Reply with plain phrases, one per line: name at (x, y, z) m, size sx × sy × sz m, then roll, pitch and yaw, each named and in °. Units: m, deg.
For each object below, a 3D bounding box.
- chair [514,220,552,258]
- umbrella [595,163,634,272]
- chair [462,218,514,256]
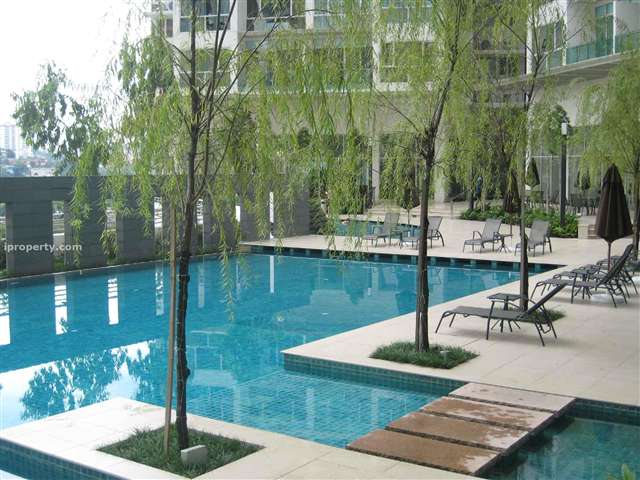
chair at (6.341, -0.096, 18.345) m, size 1.113 × 0.904 × 0.672 m, roll -6°, pitch 6°, yaw -44°
umbrella at (5.616, -0.665, 11.844) m, size 0.607 × 1.537 × 0.534 m, roll -1°, pitch 3°, yaw 28°
chair at (5.272, -0.122, 19.447) m, size 1.410 × 1.093 × 0.854 m, roll -4°, pitch 3°, yaw -40°
